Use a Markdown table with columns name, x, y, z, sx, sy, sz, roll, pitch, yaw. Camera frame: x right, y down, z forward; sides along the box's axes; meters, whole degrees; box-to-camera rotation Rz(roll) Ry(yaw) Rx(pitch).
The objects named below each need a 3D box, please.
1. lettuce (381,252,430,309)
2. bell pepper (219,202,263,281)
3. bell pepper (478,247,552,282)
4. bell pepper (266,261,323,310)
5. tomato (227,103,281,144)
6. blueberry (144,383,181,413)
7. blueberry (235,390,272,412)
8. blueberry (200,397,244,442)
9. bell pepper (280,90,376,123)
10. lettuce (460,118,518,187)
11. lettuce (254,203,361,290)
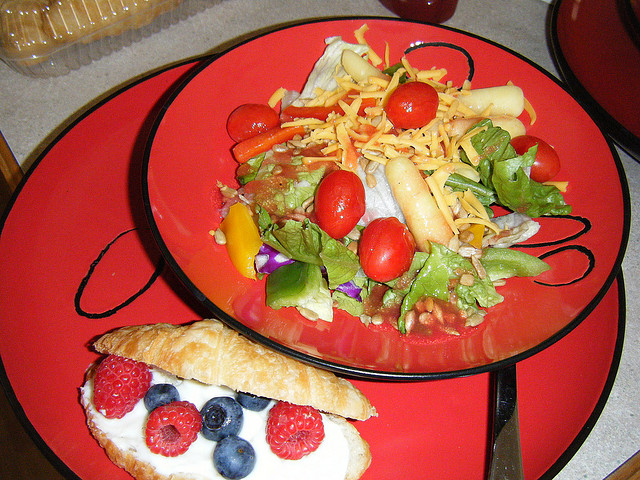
| name | x | y | z | sx | sy | sz | roll | pitch | yaw |
| --- | --- | --- | --- | --- | --- | --- | --- | --- | --- |
| lettuce | 0.381 | 0.186 | 2.750 | 0.200 | 0.240 | 0.133 | -1 | 21 | 0 |
| bell pepper | -0.351 | -0.007 | 2.868 | 0.208 | 0.274 | 0.348 | -5 | 26 | -5 |
| bell pepper | 0.857 | 0.111 | 2.769 | 0.333 | 0.141 | 0.041 | 15 | 4 | 14 |
| bell pepper | -0.123 | 0.181 | 2.717 | 0.170 | 0.201 | 0.265 | -14 | 29 | -30 |
| tomato | -0.346 | -0.594 | 3.084 | 0.273 | 0.198 | 0.229 | -10 | -13 | 15 |
| blueberry | -0.721 | 0.706 | 2.804 | 0.114 | 0.136 | 0.125 | 6 | 26 | 9 |
| blueberry | -0.313 | 0.741 | 2.804 | 0.117 | 0.079 | 0.107 | 6 | -7 | 17 |
| blueberry | -0.434 | 0.807 | 2.772 | 0.169 | 0.203 | 0.096 | 14 | -8 | 12 |
| bell pepper | 0.026 | -0.635 | 3.109 | 0.489 | 0.152 | 0.184 | -9 | -41 | 9 |
| lettuce | 0.797 | -0.445 | 2.898 | 0.198 | 0.302 | 0.156 | -10 | 29 | -14 |
| lettuce | -0.046 | 0.060 | 2.708 | 0.350 | 0.134 | 0.334 | 43 | -8 | -6 |
